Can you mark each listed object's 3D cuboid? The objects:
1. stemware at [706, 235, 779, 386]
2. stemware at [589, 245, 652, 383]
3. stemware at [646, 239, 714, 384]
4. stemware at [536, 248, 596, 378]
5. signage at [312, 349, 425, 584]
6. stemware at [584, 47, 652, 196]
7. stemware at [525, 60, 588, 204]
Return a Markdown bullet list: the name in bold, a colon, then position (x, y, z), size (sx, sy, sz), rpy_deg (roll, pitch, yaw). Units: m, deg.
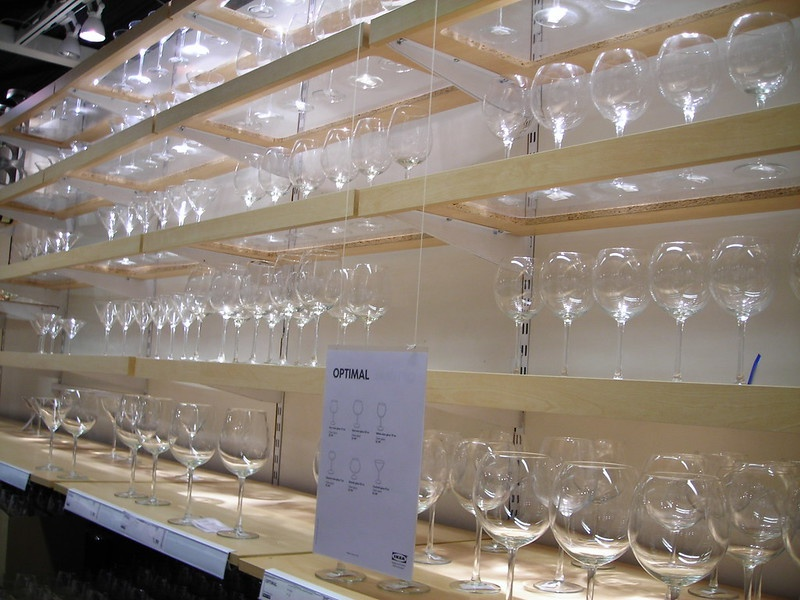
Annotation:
- **stemware**: position (0.626, 0.024, 1.022), size (0.098, 0.257, 0.148), rpy_deg (-6, -14, 42)
- **stemware**: position (0.453, -0.003, 1.145), size (0.097, 0.196, 0.092), rpy_deg (9, -12, -32)
- **stemware**: position (0.536, -0.019, 1.076), size (0.091, 0.177, 0.083), rpy_deg (8, -11, -27)
- **stemware**: position (0.359, 0.002, 1.250), size (0.115, 0.199, 0.123), rpy_deg (6, -10, -13)
- **signage**: position (-0.065, 0.302, 1.115), size (0.285, 0.421, 0.027), rpy_deg (-5, -13, 40)
- **stemware**: position (0.475, -0.464, 1.218), size (0.119, 0.186, 0.097), rpy_deg (8, -11, -25)
- **stemware**: position (0.366, -0.459, 1.310), size (0.129, 0.209, 0.105), rpy_deg (1, -10, 14)
